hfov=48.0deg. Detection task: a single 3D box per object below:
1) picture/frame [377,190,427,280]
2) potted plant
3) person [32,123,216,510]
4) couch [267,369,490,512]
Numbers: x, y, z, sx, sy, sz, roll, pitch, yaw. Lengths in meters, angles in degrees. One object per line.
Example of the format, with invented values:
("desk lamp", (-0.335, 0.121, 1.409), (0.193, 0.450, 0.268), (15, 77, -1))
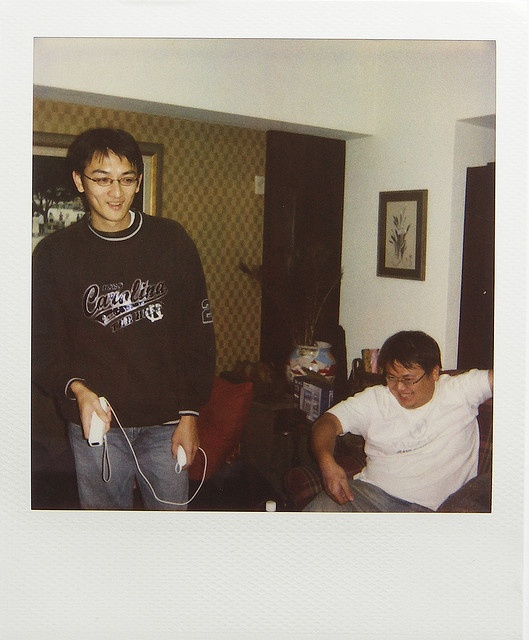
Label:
("picture/frame", (0.610, -0.385, 2.697), (0.218, 0.379, 0.017), (-1, 8, -12))
("potted plant", (0.264, -0.016, 3.205), (0.462, 1.089, 0.571), (1, 3, 23))
("person", (-0.325, -0.005, 1.417), (0.403, 0.861, 0.295), (0, 12, -8))
("couch", (0.309, 0.290, 1.487), (0.473, 0.353, 0.218), (-2, 13, -16))
